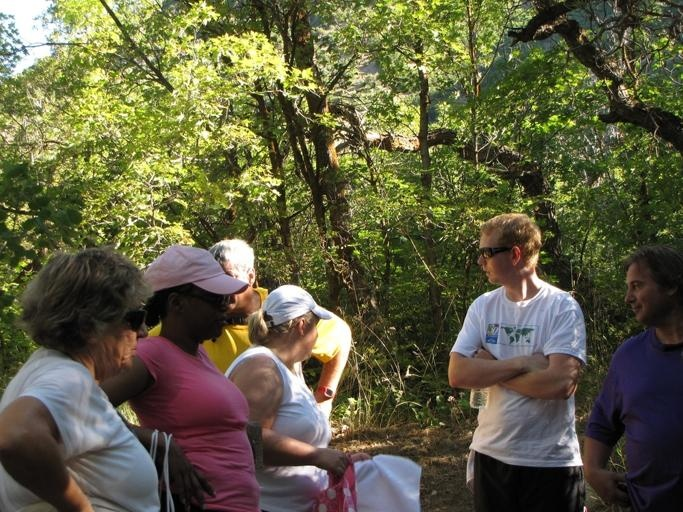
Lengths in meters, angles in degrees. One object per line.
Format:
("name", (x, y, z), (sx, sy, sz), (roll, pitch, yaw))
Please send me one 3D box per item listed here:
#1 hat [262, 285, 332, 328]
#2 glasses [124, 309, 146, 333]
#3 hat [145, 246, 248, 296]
("hat", (-0.295, 0.312, 4.072), (0.346, 0.193, 0.223), (-6, 7, -27))
("glasses", (-0.977, 0.310, 3.051), (0.081, 0.095, 0.095), (-5, 18, 0))
("hat", (-0.828, 0.084, 3.514), (0.441, 0.249, 0.291), (-3, 2, -11))
